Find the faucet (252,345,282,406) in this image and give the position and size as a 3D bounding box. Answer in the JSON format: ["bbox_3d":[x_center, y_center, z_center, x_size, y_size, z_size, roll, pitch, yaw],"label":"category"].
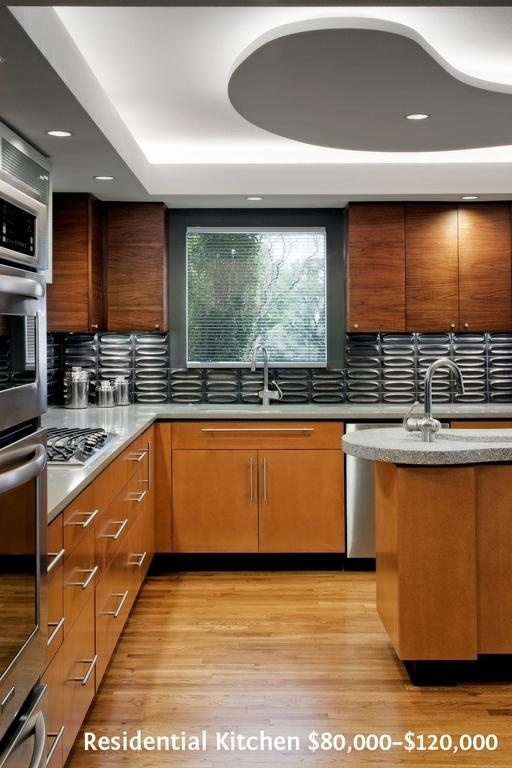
[{"bbox_3d":[0.064,-0.067,3.862,0.194,0.401,0.356,0,1,2],"label":"faucet"}]

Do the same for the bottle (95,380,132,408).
[{"bbox_3d":[-0.882,0.060,3.867,0.125,0.175,0.208,-3,-6,37],"label":"bottle"}]
